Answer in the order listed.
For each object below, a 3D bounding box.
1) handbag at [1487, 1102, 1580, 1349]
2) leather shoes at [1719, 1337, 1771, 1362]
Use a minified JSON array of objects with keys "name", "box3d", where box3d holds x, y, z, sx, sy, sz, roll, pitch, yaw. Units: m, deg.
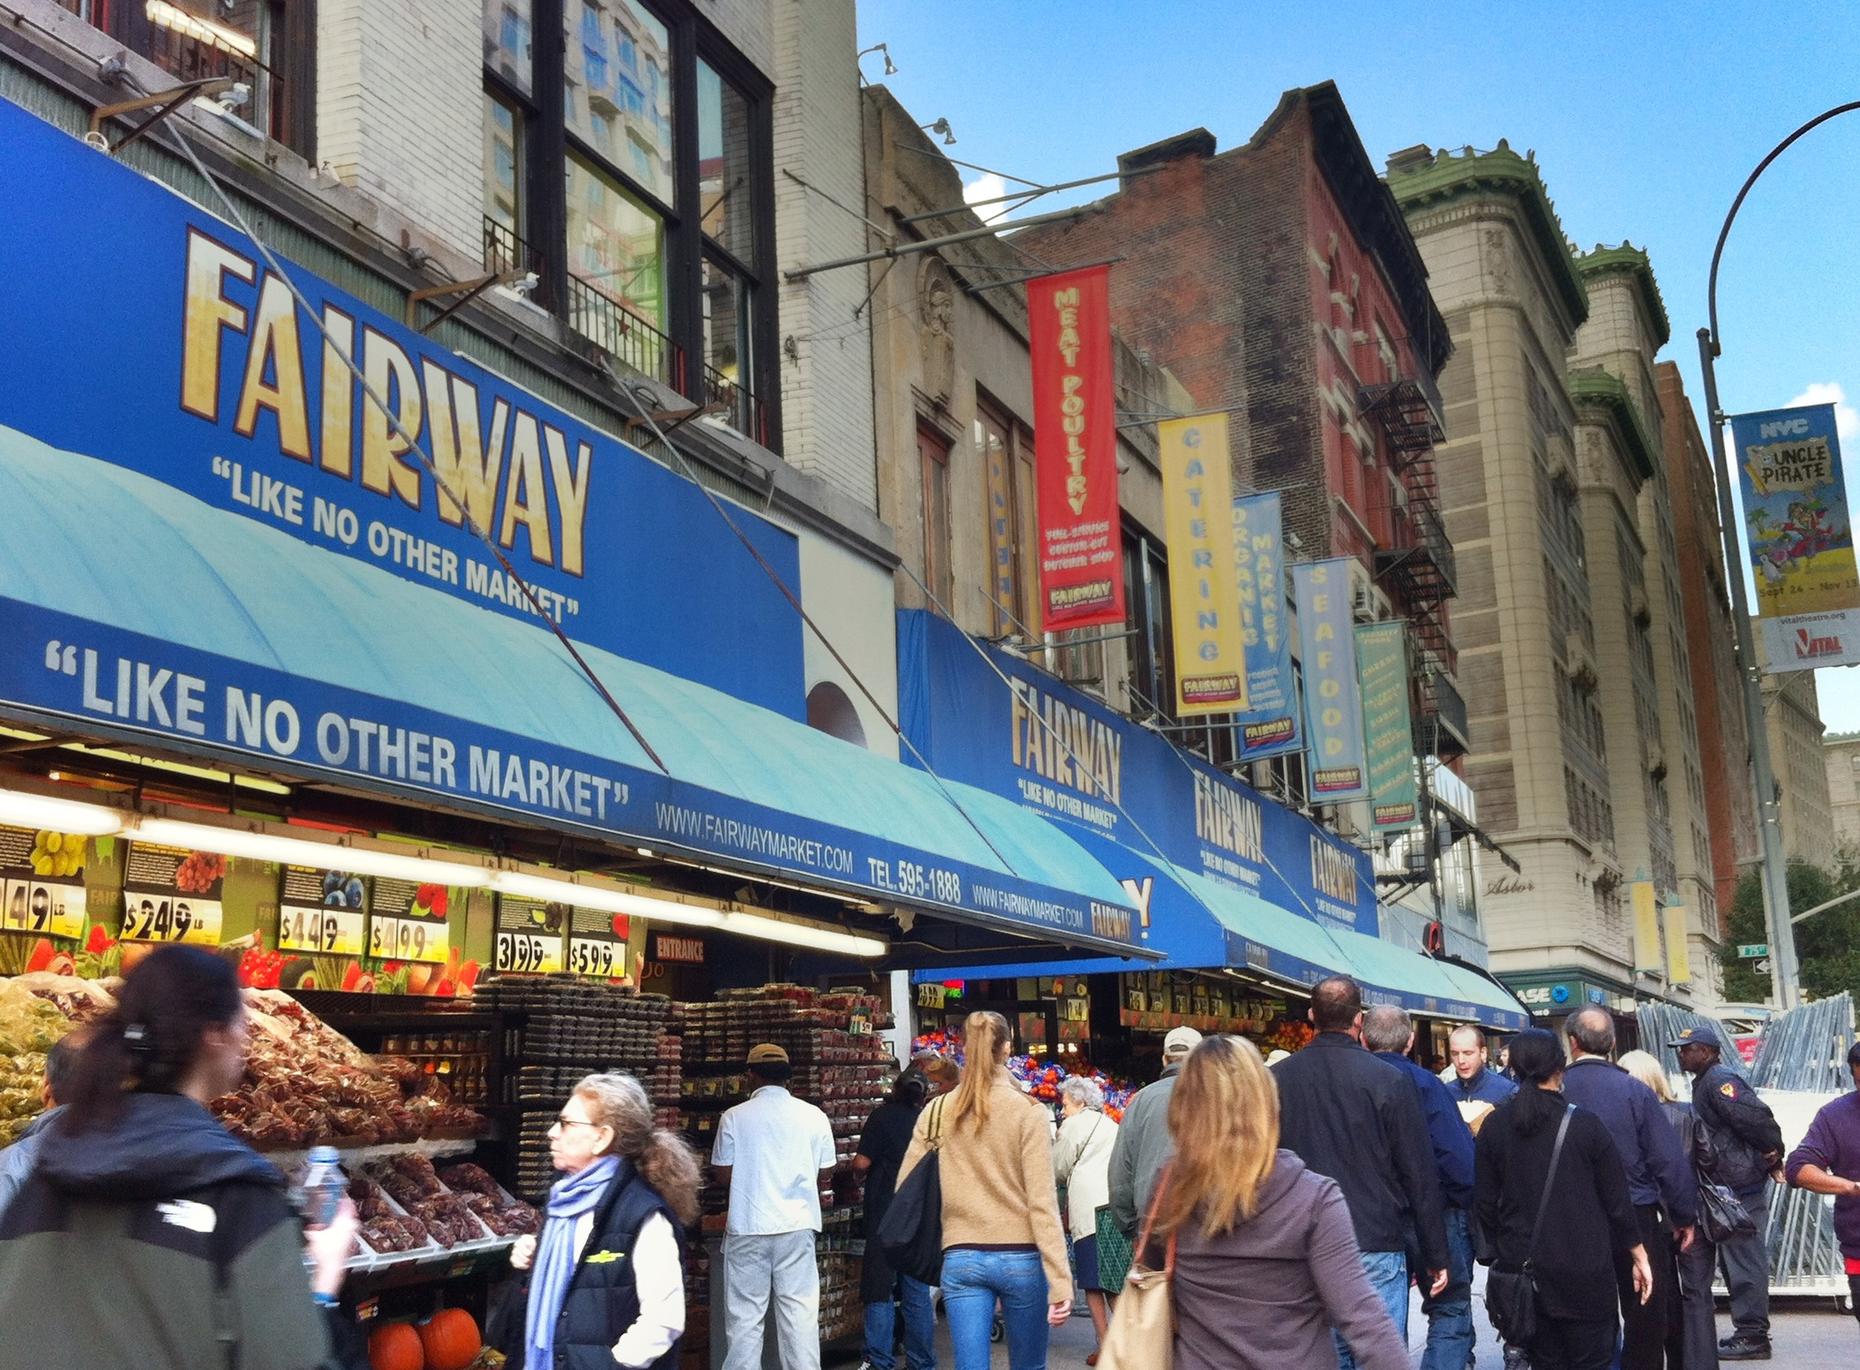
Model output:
[{"name":"handbag","box3d":[3.087,2.766,10.418,0.297,1.191,0.647,4,-15,-21]},{"name":"leather shoes","box3d":[5.500,4.415,13.500,0.488,0.138,0.214,2,-16,-15]}]
